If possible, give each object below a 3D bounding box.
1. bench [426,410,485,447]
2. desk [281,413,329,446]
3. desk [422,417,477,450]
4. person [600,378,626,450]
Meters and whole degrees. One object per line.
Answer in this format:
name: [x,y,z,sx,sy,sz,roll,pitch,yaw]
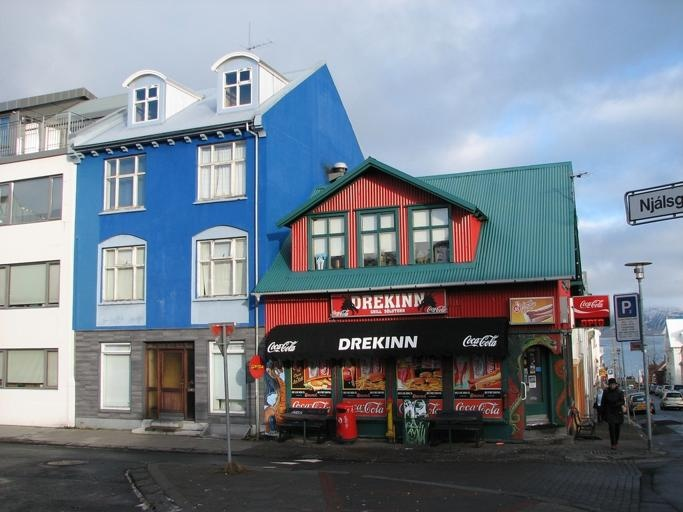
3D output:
bench: [3.910,5.838,29.250,1.669,1.137,0.982,-5,-9,24]
desk: [-1.346,6.297,31.534,1.876,1.012,1.365,-1,0,30]
desk: [3.764,6.015,29.636,1.823,1.188,0.966,-2,-15,11]
person: [9.137,5.329,29.196,0.860,2.362,0.760,5,-12,-19]
